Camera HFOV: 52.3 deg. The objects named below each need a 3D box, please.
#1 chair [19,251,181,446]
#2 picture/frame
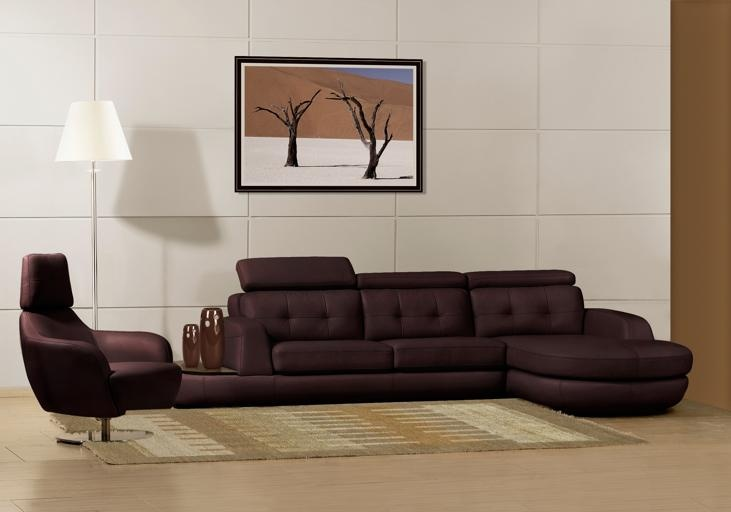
[{"bbox_3d":[-1.705,0.597,4.743,0.988,1.072,0.903,1,0,-8],"label":"chair"},{"bbox_3d":[-0.407,-1.173,6.476,1.320,0.894,0.033,0,1,-9],"label":"picture/frame"}]
